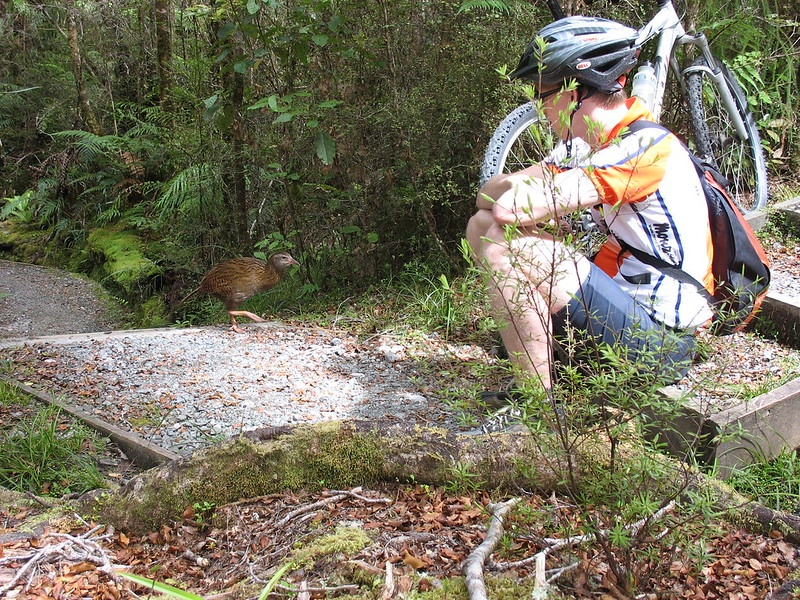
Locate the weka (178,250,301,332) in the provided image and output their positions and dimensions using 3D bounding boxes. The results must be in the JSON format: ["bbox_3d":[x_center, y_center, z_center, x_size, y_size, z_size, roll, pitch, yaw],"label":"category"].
[{"bbox_3d":[-1.451,-0.080,5.908,1.018,0.710,0.473,2,11,4],"label":"weka"}]

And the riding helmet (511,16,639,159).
[{"bbox_3d":[0.830,-1.121,3.139,0.560,0.460,0.434,-4,32,-1],"label":"riding helmet"}]

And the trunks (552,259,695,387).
[{"bbox_3d":[1.048,0.041,2.935,0.657,0.223,0.529,39,4,3],"label":"trunks"}]
